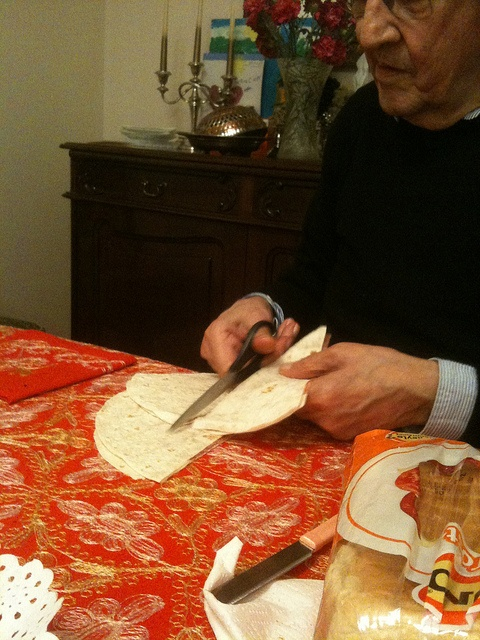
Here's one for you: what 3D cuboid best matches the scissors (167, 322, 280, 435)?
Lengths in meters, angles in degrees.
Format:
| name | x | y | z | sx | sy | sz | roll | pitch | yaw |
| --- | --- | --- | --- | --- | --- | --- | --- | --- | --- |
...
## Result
| name | x | y | z | sx | sy | sz | roll | pitch | yaw |
| --- | --- | --- | --- | --- | --- | --- | --- | --- | --- |
| scissors | -0.001 | 0.068 | 0.778 | 0.224 | 0.060 | 0.034 | -43 | -1 | -23 |

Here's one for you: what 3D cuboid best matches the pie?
| name | x | y | z | sx | sy | sz | roll | pitch | yaw |
| --- | --- | --- | --- | --- | --- | --- | --- | --- | --- |
| pie | -0.052 | 0.083 | 0.692 | 0.147 | 0.046 | 0.242 | 19 | 25 | 36 |

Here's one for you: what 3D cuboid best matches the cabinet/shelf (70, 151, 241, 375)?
| name | x | y | z | sx | sy | sz | roll | pitch | yaw |
| --- | --- | --- | --- | --- | --- | --- | --- | --- | --- |
| cabinet/shelf | -0.260 | -0.217 | 1.820 | 0.796 | 0.690 | 0.286 | 8 | 13 | 28 |
